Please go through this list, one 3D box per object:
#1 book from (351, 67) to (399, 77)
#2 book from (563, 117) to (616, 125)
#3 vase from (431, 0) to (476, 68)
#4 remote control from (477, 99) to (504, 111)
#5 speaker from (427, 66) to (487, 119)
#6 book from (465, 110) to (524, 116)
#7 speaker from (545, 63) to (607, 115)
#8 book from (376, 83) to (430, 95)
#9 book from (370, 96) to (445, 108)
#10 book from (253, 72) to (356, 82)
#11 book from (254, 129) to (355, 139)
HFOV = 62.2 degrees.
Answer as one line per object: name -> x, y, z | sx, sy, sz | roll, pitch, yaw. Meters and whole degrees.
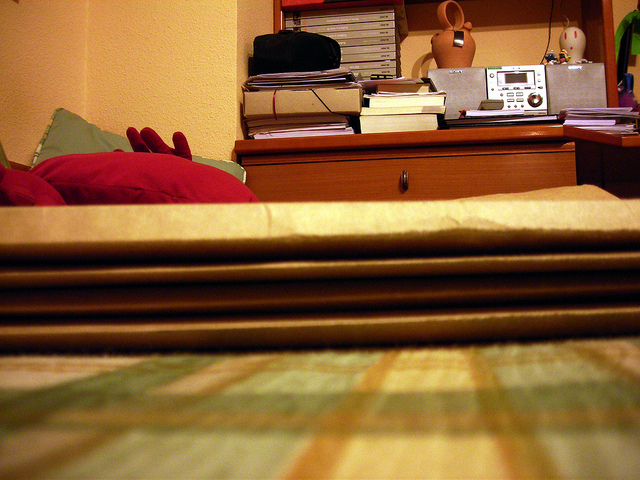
book -> 0.174, -0.528, 1.666 | 0.145, 0.027, 0.054 | -3, 11, 1
book -> 0.711, -0.314, 1.399 | 0.070, 0.016, 0.070 | 2, 9, 9
vase -> 0.451, -0.688, 1.788 | 0.132, 0.239, 0.326 | -1, 11, 15
remote control -> 0.503, -0.395, 1.550 | 0.067, 0.032, 0.130 | 1, 12, 18
speaker -> 0.408, -0.434, 1.565 | 0.204, 0.180, 0.098 | -1, 5, 7
book -> 0.456, -0.332, 1.382 | 0.146, 0.016, 0.046 | -3, 11, -2
speaker -> 0.768, -0.436, 1.618 | 0.182, 0.162, 0.134 | 1, -12, 4
book -> 0.233, -0.424, 1.481 | 0.146, 0.032, 0.091 | -1, 11, 8
book -> 0.233, -0.371, 1.426 | 0.197, 0.033, 0.029 | -2, 10, 3
book -> -0.048, -0.437, 1.454 | 0.280, 0.024, 0.040 | -1, 11, 12
book -> -0.048, -0.293, 1.464 | 0.273, 0.012, 0.058 | 1, 12, 19
